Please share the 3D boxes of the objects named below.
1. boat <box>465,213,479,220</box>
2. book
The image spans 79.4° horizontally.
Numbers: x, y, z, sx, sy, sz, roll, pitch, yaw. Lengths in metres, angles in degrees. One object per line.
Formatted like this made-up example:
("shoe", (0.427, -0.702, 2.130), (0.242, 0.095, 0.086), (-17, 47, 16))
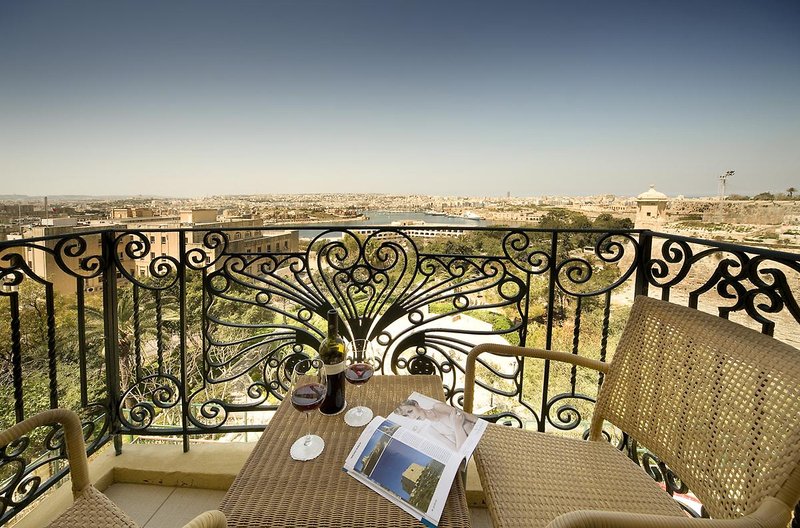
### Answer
("boat", (6.633, -4.408, 44.123), (1.038, 0.159, 1.011), (-8, 16, 30))
("book", (0.036, 0.686, 1.748), (0.342, 0.078, 0.456), (16, 40, 30))
